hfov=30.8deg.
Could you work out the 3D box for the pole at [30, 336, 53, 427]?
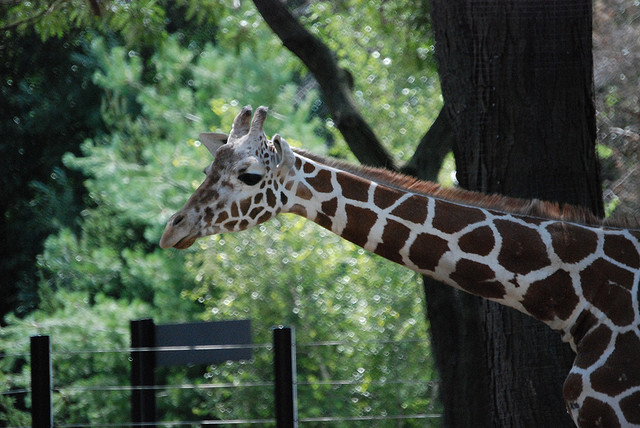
[{"bbox_3d":[-4.064,2.428,16.921,0.309,1.306,0.302,-3,9,-14],"label":"pole"}]
